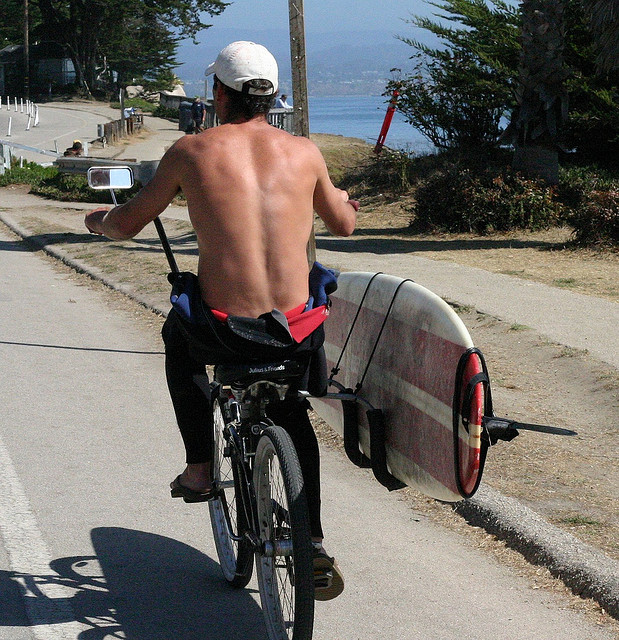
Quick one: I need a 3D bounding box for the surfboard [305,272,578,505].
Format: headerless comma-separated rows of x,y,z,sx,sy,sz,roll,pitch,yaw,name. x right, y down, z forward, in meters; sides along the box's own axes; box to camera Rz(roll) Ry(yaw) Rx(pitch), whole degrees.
0.433,0.278,4.833,0.695,0.687,1.875,-3,8,-16,surfboard

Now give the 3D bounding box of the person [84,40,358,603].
-0.330,0.079,4.189,1.001,2.345,0.873,2,14,0,person
